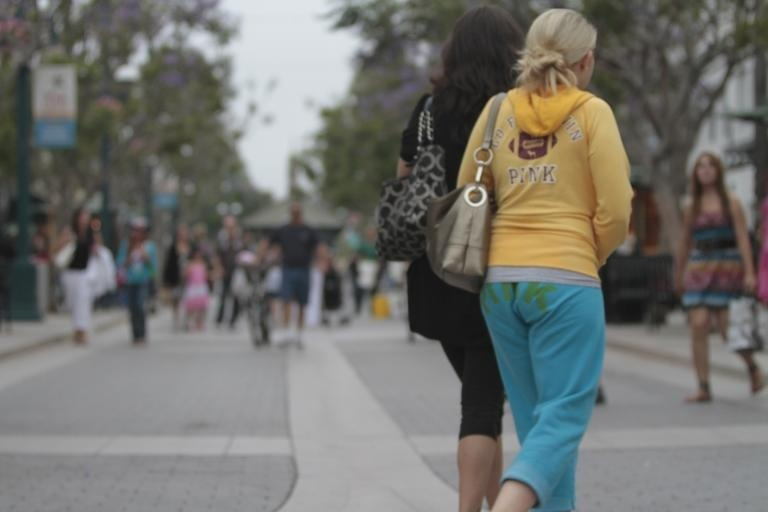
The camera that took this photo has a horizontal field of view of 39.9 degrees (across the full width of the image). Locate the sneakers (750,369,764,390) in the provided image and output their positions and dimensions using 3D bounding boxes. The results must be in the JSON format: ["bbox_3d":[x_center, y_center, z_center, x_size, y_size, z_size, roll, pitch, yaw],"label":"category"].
[{"bbox_3d":[3.832,1.270,10.874,0.135,0.250,0.246,2,4,19],"label":"sneakers"}]

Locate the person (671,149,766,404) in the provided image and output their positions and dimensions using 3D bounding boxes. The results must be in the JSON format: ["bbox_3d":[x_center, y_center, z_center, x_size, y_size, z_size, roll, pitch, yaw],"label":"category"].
[{"bbox_3d":[3.410,0.193,10.900,0.753,2.508,0.699,1,3,11],"label":"person"}]

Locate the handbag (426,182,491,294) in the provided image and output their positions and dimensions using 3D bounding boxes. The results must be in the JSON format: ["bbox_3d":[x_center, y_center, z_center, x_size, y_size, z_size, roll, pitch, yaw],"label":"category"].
[{"bbox_3d":[0.494,-0.134,6.859,0.315,0.646,0.612,9,-1,-12],"label":"handbag"}]
